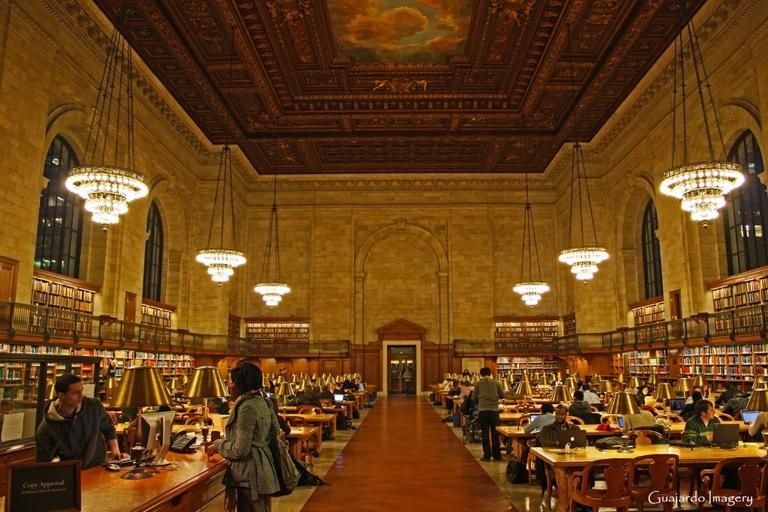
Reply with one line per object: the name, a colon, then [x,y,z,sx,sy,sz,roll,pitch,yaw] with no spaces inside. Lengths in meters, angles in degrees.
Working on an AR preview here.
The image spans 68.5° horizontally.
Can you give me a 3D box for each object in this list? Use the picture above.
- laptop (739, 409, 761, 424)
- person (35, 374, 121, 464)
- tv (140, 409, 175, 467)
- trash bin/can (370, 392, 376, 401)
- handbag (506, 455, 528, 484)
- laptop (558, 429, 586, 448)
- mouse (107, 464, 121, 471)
laptop: [5.811,2.534,8.903,0.230,0.212,0.729,-10,-17,32]
person: [-3.303,1.794,6.143,0.397,0.968,0.779,-9,-16,30]
tv: [-2.457,1.968,6.058,0.233,0.583,0.567,-2,-11,14]
trash bin/can: [-0.505,5.999,24.136,0.274,0.498,0.517,-3,-12,6]
handbag: [2.245,3.577,9.440,0.196,0.358,0.358,34,-31,-29]
laptop: [2.651,2.500,7.861,0.364,0.254,0.256,2,-9,-1]
mouse: [-2.895,2.244,6.015,0.130,0.075,0.156,6,-16,-27]
